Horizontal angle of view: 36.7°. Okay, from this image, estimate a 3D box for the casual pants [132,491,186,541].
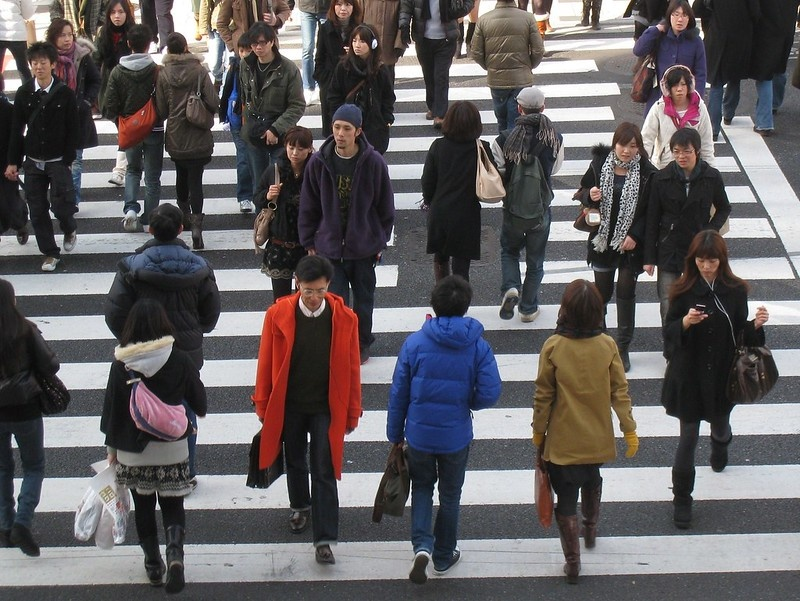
[{"bbox_3d":[-1.991,1.752,9.858,0.398,0.290,0.862,7,-29,-5],"label":"casual pants"}]

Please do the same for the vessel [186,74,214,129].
[{"bbox_3d":[-2.438,-2.385,14.609,0.314,0.743,0.374,-10,-13,23],"label":"vessel"}]

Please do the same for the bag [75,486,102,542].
[{"bbox_3d":[-2.555,1.721,9.738,0.216,0.421,0.185,-13,20,-39],"label":"bag"}]

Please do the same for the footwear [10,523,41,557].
[{"bbox_3d":[-3.161,2.006,10.161,0.127,0.359,0.160,-27,28,-12],"label":"footwear"}]

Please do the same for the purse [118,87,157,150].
[{"bbox_3d":[-3.271,-2.188,14.663,0.640,0.645,0.275,-26,54,-20],"label":"purse"}]

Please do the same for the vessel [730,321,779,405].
[{"bbox_3d":[2.969,0.540,10.273,0.491,0.586,0.288,-27,21,-19],"label":"vessel"}]

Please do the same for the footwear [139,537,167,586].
[{"bbox_3d":[-2.076,2.096,10.026,0.188,0.412,0.422,-8,13,-10],"label":"footwear"}]

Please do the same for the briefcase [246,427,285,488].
[{"bbox_3d":[-1.102,1.248,10.310,0.155,0.384,0.381,21,5,-38],"label":"briefcase"}]

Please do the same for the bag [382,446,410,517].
[{"bbox_3d":[-0.052,1.464,9.815,0.232,0.501,0.258,0,15,2],"label":"bag"}]

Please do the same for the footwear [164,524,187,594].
[{"bbox_3d":[-1.819,2.065,9.640,0.205,0.496,0.477,-3,34,-15],"label":"footwear"}]
